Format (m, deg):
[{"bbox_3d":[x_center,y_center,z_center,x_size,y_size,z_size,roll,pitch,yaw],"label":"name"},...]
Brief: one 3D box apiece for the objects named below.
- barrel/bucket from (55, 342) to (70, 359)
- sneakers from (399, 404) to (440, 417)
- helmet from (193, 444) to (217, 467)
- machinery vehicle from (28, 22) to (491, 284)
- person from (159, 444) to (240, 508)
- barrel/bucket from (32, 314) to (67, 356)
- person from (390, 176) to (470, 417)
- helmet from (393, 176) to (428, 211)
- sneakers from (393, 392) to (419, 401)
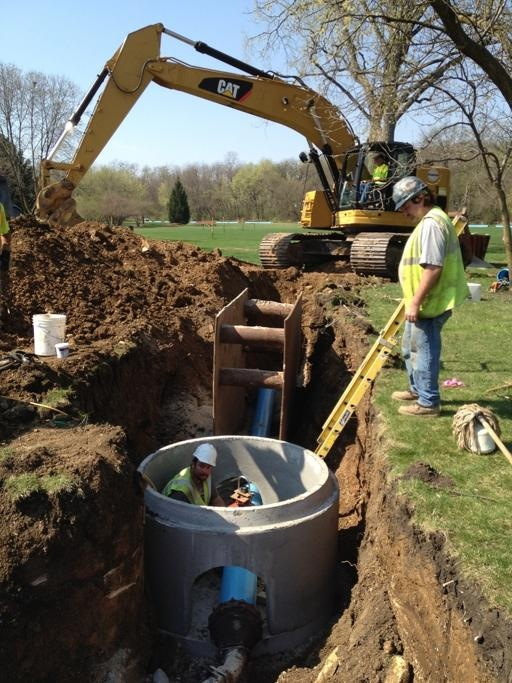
[{"bbox_3d":[-1.784,0.086,5.313,0.108,0.140,0.166,-1,9,-24],"label":"barrel/bucket"},{"bbox_3d":[1.357,0.553,4.801,0.283,0.114,0.110,5,9,25],"label":"sneakers"},{"bbox_3d":[-0.430,0.966,5.001,0.172,0.118,0.209,26,0,-18],"label":"helmet"},{"bbox_3d":[0.499,-3.550,11.108,8.385,4.061,2.344,-3,18,-16],"label":"machinery vehicle"},{"bbox_3d":[-0.510,1.228,5.100,0.358,0.682,0.743,6,9,20],"label":"person"},{"bbox_3d":[-1.927,-0.083,5.502,0.372,0.385,0.382,4,13,-1],"label":"barrel/bucket"},{"bbox_3d":[1.353,-0.322,4.616,0.585,1.931,0.712,2,8,-3],"label":"person"},{"bbox_3d":[1.181,-1.182,4.569,0.275,0.182,0.240,-19,9,8],"label":"helmet"},{"bbox_3d":[1.357,0.483,5.211,0.190,0.078,0.079,8,12,21],"label":"sneakers"}]
